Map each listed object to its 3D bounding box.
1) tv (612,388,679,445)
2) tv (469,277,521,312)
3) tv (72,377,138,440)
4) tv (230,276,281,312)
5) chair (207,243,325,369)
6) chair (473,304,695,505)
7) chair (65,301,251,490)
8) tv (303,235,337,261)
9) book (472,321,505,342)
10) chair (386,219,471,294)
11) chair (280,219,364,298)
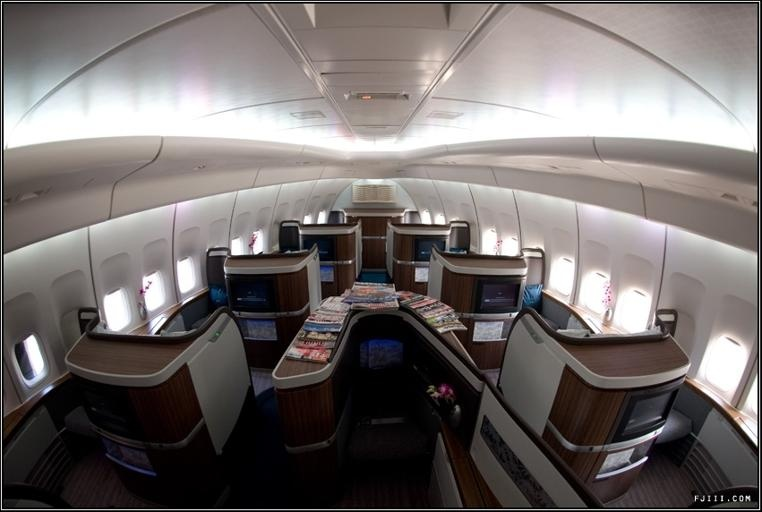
[{"bbox_3d":[3.715,2.206,6.208,0.984,0.770,0.064,-5,17,-15],"label":"tv"},{"bbox_3d":[2.490,0.855,9.000,1.025,0.825,0.525,-2,-19,37],"label":"tv"},{"bbox_3d":[-3.802,2.114,6.183,0.963,0.879,0.053,4,17,14],"label":"tv"},{"bbox_3d":[-2.520,0.736,9.041,0.985,0.867,0.779,-1,9,-5],"label":"tv"},{"bbox_3d":[-2.221,1.061,9.627,2.280,2.972,2.395,0,4,4],"label":"chair"},{"bbox_3d":[3.398,2.402,7.338,2.232,3.134,2.083,-16,32,-30],"label":"chair"},{"bbox_3d":[-3.028,2.038,7.449,2.478,3.088,2.739,-1,20,7],"label":"chair"},{"bbox_3d":[-1.607,-0.272,12.318,1.172,1.028,0.611,0,3,-3],"label":"tv"},{"bbox_3d":[2.182,1.524,9.117,0.504,0.338,0.051,1,17,-8],"label":"book"},{"bbox_3d":[1.272,0.141,13.521,2.450,2.336,1.755,-1,0,4],"label":"chair"},{"bbox_3d":[-1.797,-0.055,13.256,1.918,2.077,2.802,2,10,14],"label":"chair"}]
